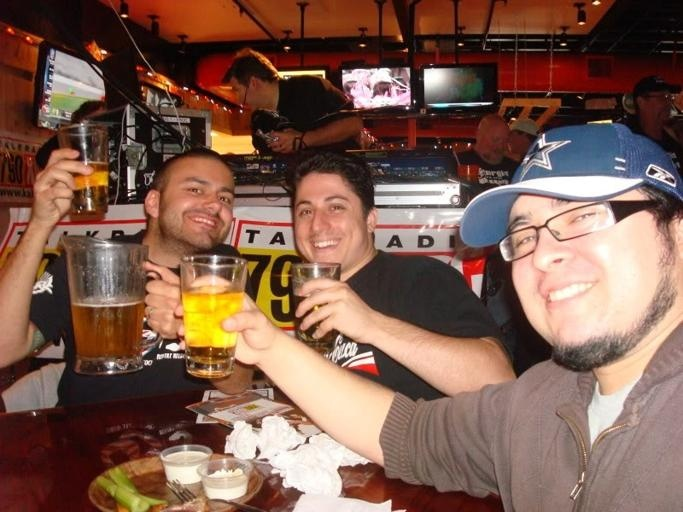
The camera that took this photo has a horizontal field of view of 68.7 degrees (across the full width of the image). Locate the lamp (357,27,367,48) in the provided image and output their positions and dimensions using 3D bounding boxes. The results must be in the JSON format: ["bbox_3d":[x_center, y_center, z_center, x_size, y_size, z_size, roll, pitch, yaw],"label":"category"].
[{"bbox_3d":[0.448,-4.802,10.890,0.215,0.368,0.169,1,-16,-1],"label":"lamp"}]

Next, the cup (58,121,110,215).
[{"bbox_3d":[-1.067,-0.357,2.049,0.182,0.375,0.203,-1,9,-27],"label":"cup"}]

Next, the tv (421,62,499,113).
[{"bbox_3d":[2.107,-2.981,8.859,1.067,0.573,0.103,0,1,3],"label":"tv"}]

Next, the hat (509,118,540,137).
[{"bbox_3d":[2.800,-1.979,7.629,0.443,0.217,0.318,22,29,31],"label":"hat"}]

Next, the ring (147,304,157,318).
[{"bbox_3d":[-0.789,0.225,2.056,0.049,0.025,0.064,-10,5,-4],"label":"ring"}]

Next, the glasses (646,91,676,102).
[{"bbox_3d":[3.877,-1.896,5.962,0.391,0.107,0.153,-2,9,-30],"label":"glasses"}]

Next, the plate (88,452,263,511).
[{"bbox_3d":[-0.583,0.640,1.427,0.212,0.024,0.212,3,-1,28],"label":"plate"}]
